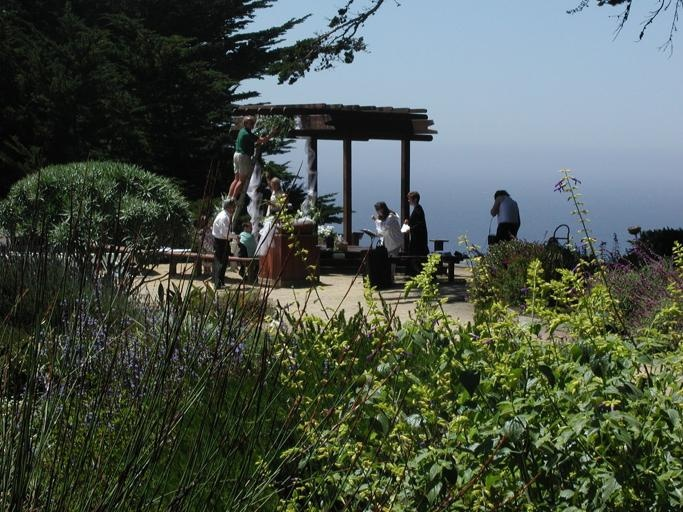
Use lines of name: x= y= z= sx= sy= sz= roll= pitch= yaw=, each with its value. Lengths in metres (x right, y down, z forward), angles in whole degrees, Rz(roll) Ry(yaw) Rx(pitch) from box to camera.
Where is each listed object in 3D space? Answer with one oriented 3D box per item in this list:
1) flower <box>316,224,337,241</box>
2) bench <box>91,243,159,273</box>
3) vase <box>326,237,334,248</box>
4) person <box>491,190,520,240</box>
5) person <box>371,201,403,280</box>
flower: x=-0.388 y=-0.601 z=17.480 sx=0.574 sy=0.520 sz=0.654 roll=1 pitch=6 yaw=-6
bench: x=-1.210 y=0.008 z=3.923 sx=0.196 sy=0.102 sz=0.265 roll=2 pitch=6 yaw=-28
vase: x=-0.296 y=-0.334 z=17.055 sx=0.195 sy=0.304 sz=0.563 roll=1 pitch=-2 yaw=-3
person: x=3.397 y=-0.846 z=14.586 sx=0.557 sy=1.158 sz=2.240 roll=1 pitch=-2 yaw=13
person: x=0.948 y=-0.254 z=13.993 sx=0.596 sy=1.627 sz=0.567 roll=7 pitch=-12 yaw=-36
